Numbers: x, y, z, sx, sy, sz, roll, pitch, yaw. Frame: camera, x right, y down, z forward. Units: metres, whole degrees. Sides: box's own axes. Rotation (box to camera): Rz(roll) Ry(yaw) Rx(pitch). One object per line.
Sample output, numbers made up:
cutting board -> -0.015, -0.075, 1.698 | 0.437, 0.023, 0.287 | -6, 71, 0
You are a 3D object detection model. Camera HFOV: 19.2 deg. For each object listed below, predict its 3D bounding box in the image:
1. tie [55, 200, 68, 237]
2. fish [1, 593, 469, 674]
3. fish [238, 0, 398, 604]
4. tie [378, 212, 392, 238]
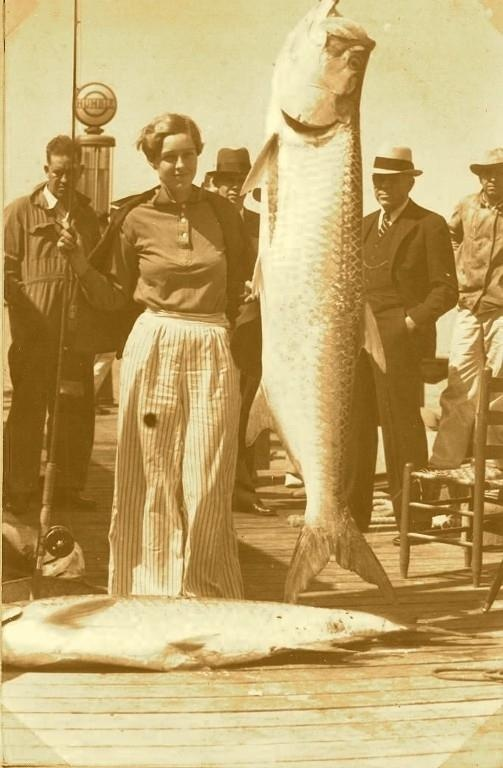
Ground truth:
tie -> -0.703, -0.602, 5.414 | 0.036, 0.128, 0.021 | 3, 14, 14
fish -> -0.107, 0.878, 5.199 | 1.081, 0.178, 0.194 | 1, -36, 1
fish -> 0.217, -0.282, 5.228 | 0.526, 2.117, 0.231 | 2, 1, 5
tie -> 0.478, -0.572, 5.368 | 0.052, 0.086, 0.024 | 9, -4, -21
